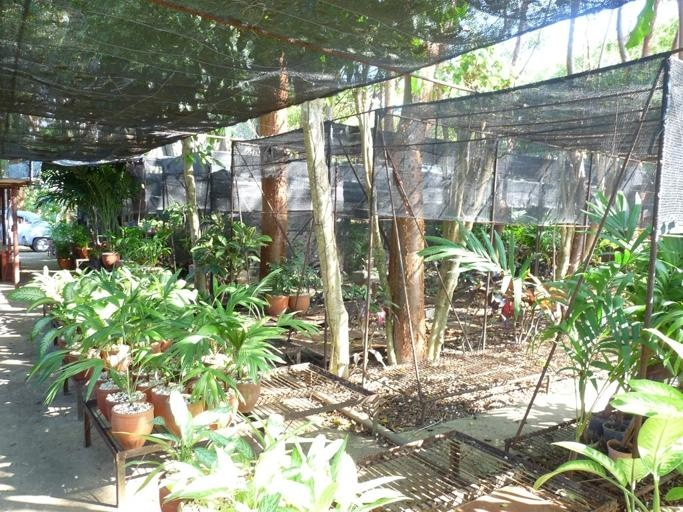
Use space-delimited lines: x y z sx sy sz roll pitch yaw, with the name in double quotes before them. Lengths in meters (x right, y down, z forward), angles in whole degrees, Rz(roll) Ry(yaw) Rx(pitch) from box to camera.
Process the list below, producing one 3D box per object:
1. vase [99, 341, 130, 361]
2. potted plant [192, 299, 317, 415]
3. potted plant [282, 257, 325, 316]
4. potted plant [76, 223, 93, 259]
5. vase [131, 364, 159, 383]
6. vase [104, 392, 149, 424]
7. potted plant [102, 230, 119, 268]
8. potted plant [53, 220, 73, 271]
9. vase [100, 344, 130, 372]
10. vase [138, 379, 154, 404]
"vase" -1.763 0.747 4.271 0.205 0.137 0.183 4 -4 -11
"potted plant" -0.646 0.804 3.931 0.832 0.548 0.814 9 5 -7
"potted plant" -0.649 0.503 7.984 0.386 0.564 0.536 -2 -4 -25
"potted plant" -5.617 -0.302 11.923 0.373 0.660 0.916 -3 9 -24
"vase" -1.478 0.885 4.090 0.186 0.128 0.195 -2 -7 34
"vase" -1.495 1.030 3.845 0.242 0.182 0.231 8 -9 -44
"potted plant" -4.276 -0.111 10.138 0.380 0.700 0.370 -1 4 -2
"potted plant" -6.092 -0.208 12.013 0.422 1.018 0.866 -4 10 -27
"vase" -1.727 0.772 4.228 0.267 0.205 0.276 2 2 -4
"vase" -1.403 0.973 3.946 0.126 0.136 0.140 4 6 7
